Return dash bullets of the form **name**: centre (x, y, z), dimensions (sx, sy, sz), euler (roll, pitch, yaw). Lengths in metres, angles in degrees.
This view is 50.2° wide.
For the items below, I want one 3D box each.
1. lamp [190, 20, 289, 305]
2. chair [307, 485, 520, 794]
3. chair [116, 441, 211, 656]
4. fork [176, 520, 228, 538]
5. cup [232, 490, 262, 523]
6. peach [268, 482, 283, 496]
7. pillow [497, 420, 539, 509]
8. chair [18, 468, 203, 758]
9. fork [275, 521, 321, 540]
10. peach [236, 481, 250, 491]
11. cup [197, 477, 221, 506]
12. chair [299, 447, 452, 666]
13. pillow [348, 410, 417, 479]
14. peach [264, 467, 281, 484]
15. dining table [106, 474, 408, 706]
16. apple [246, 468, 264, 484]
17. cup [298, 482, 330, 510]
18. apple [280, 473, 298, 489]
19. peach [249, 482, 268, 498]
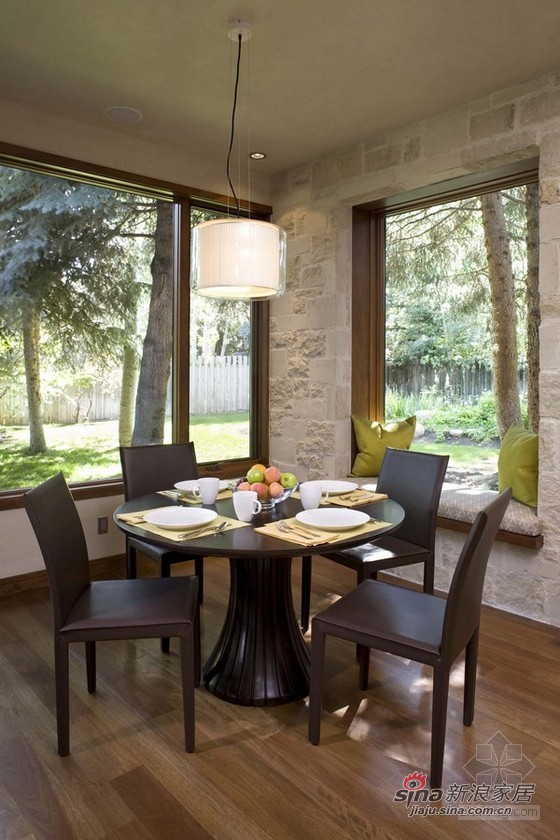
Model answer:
- **lamp**: centre (-0.182, -1.062, 2.722), dimensions (0.362, 1.101, 1.160), euler (0, 3, -3)
- **chair**: centre (0.372, 0.589, 1.779), dimensions (0.503, 0.758, 0.461), euler (7, 6, 42)
- **chair**: centre (-0.459, 0.513, 2.711), dimensions (0.467, 0.793, 0.443), euler (1, 3, 43)
- **fork**: centre (-0.216, 0.312, 1.764), dimensions (0.038, 0.038, 0.211), euler (-23, -9, 31)
- **cup**: centre (-0.110, 0.270, 1.886), dimensions (0.066, 0.079, 0.104), euler (-2, 11, -24)
- **peach**: centre (-0.014, 0.234, 2.035), dimensions (0.040, 0.041, 0.039), euler (5, -1, -37)
- **pillow**: centre (1.217, 0.240, 3.042), dimensions (0.155, 0.377, 0.373), euler (2, 4, -5)
- **chair**: centre (-0.492, 0.571, 1.922), dimensions (0.537, 0.781, 0.532), euler (-2, 2, 12)
- **fork**: centre (0.051, 0.314, 1.763), dimensions (0.043, 0.019, 0.133), euler (-13, 14, -33)
- **peach**: centre (-0.131, 0.230, 2.081), dimensions (0.029, 0.017, 0.029), euler (5, 9, 43)
- **cup**: centre (-0.250, 0.247, 2.092), dimensions (0.074, 0.091, 0.092), euler (-1, 0, -5)
- **chair**: centre (0.397, 0.517, 2.521), dimensions (0.506, 0.777, 0.485), euler (2, 3, -15)
- **pillow**: centre (0.686, 0.193, 3.942), dimensions (0.423, 0.440, 0.189), euler (-1, 0, -6)
- **peach**: centre (-0.024, 0.195, 2.125), dimensions (0.051, 0.062, 0.056), euler (3, 0, 1)
- **dining table**: centre (-0.128, 0.543, 1.922), dimensions (0.737, 0.480, 0.755), euler (1, -6, -12)
- **apple**: centre (-0.087, 0.198, 2.122), dimensions (0.054, 0.066, 0.054), euler (1, 3, 0)
- **cup**: centre (0.118, 0.251, 2.010), dimensions (0.065, 0.094, 0.103), euler (-3, -4, 19)
- **apple**: centre (0.022, 0.218, 2.133), dimensions (0.054, 0.057, 0.066), euler (-4, -7, 17)
- **peach**: centre (-0.072, 0.235, 2.038), dimensions (0.052, 0.054, 0.050), euler (1, -1, 42)
